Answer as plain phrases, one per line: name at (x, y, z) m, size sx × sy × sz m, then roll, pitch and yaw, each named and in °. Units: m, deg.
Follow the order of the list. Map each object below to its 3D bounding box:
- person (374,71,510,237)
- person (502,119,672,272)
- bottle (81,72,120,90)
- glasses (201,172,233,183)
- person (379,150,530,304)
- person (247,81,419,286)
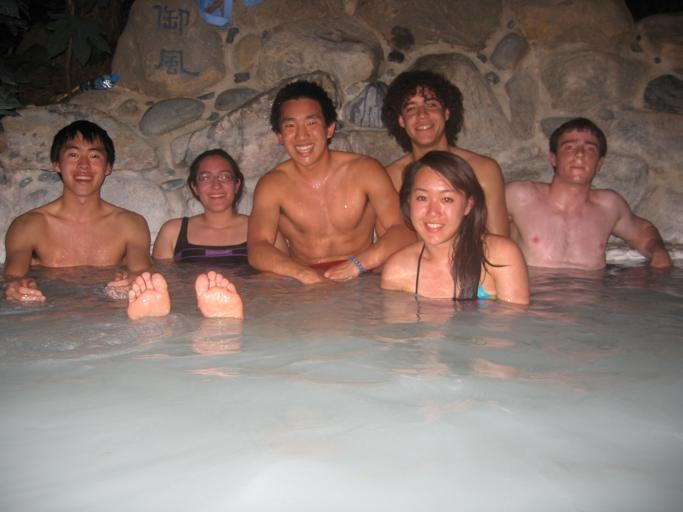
person at (0.822, -0.719, 4.750) m, size 1.056 × 1.594 × 0.880 m, roll -4°, pitch -7°, yaw 9°
person at (1.786, -0.452, 4.584) m, size 1.872 × 1.176 × 0.570 m, roll 3°, pitch 6°, yaw 4°
bottle at (-2.576, -1.828, 6.046) m, size 0.461 × 0.184 × 0.191 m, roll 4°, pitch 6°, yaw 37°
glasses at (-1.056, -0.649, 4.773) m, size 0.279 × 0.088 × 0.078 m, roll -1°, pitch 5°, yaw -17°
person at (0.712, -0.149, 3.635) m, size 1.079 × 1.123 × 0.643 m, roll 2°, pitch 10°, yaw 34°
person at (-0.187, -0.468, 4.297) m, size 1.407 × 1.558 × 0.963 m, roll -9°, pitch 22°, yaw 3°
